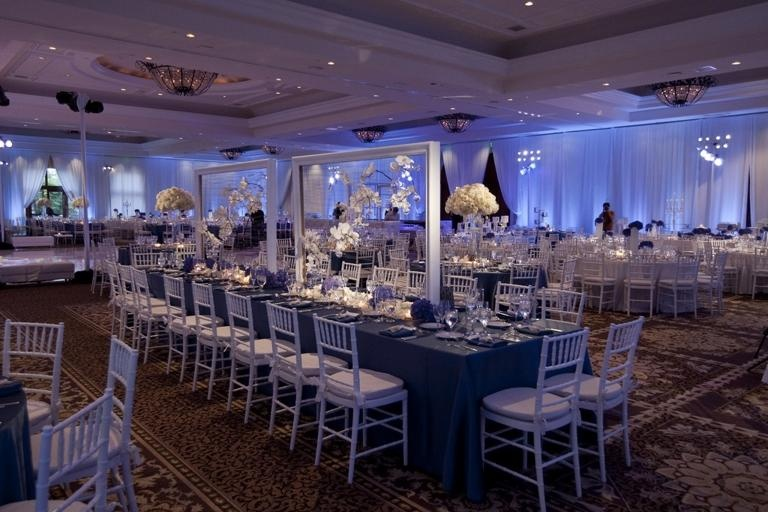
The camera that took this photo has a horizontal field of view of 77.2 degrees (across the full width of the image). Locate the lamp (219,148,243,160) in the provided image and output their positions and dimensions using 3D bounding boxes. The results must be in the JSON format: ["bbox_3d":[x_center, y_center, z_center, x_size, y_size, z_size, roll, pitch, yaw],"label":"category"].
[{"bbox_3d":[-6.371,-4.257,20.088,0.719,0.416,0.697,-2,2,-21],"label":"lamp"}]

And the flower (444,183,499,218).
[{"bbox_3d":[1.756,-1.071,9.791,0.850,0.543,0.832,0,5,4],"label":"flower"}]

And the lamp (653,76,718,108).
[{"bbox_3d":[6.463,-3.575,10.615,0.898,0.360,0.873,-2,1,3],"label":"lamp"}]

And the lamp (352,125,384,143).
[{"bbox_3d":[-0.507,-3.942,15.454,0.950,0.486,1.023,0,3,-1],"label":"lamp"}]

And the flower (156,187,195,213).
[{"bbox_3d":[-5.082,-1.395,11.743,0.775,0.603,0.979,-1,3,-19],"label":"flower"}]

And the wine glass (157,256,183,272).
[{"bbox_3d":[-3.607,0.153,8.179,0.339,0.261,0.383,1,-3,-18],"label":"wine glass"}]

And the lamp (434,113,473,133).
[{"bbox_3d":[2.003,-3.773,13.604,0.943,0.446,0.779,1,3,9],"label":"lamp"}]

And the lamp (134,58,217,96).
[{"bbox_3d":[-3.934,-3.453,9.526,1.377,0.477,1.361,-2,9,-9],"label":"lamp"}]

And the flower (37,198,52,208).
[{"bbox_3d":[-15.461,-2.427,21.977,0.407,0.449,0.465,1,5,-44],"label":"flower"}]
